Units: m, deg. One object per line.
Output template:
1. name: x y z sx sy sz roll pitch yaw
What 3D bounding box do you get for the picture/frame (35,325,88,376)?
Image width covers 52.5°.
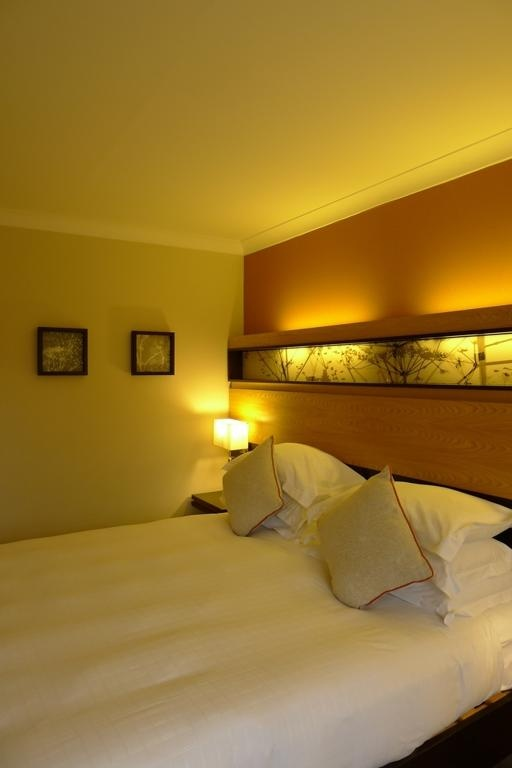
1. picture/frame: -1.264 -0.222 3.343 0.317 0.337 0.025 -1 2 -39
